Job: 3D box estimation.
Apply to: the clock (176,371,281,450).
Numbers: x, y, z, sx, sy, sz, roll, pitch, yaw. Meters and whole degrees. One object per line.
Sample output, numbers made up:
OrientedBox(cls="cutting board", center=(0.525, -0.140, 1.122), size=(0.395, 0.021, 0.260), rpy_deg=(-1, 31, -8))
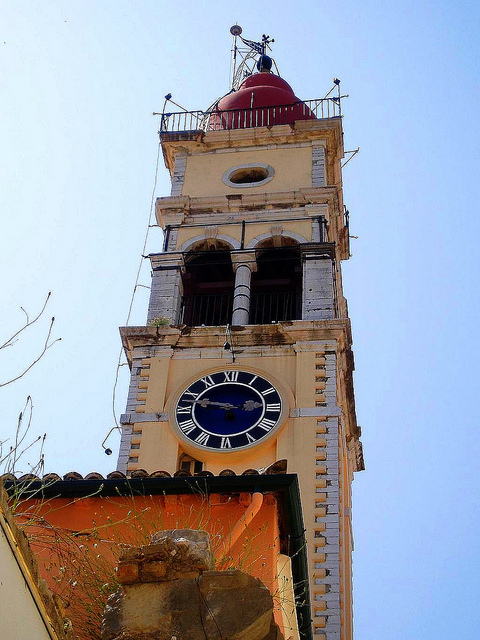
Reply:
OrientedBox(cls="clock", center=(-0.165, 1.586, 21.281), size=(1.750, 1.934, 0.155), rpy_deg=(-9, -63, -7))
